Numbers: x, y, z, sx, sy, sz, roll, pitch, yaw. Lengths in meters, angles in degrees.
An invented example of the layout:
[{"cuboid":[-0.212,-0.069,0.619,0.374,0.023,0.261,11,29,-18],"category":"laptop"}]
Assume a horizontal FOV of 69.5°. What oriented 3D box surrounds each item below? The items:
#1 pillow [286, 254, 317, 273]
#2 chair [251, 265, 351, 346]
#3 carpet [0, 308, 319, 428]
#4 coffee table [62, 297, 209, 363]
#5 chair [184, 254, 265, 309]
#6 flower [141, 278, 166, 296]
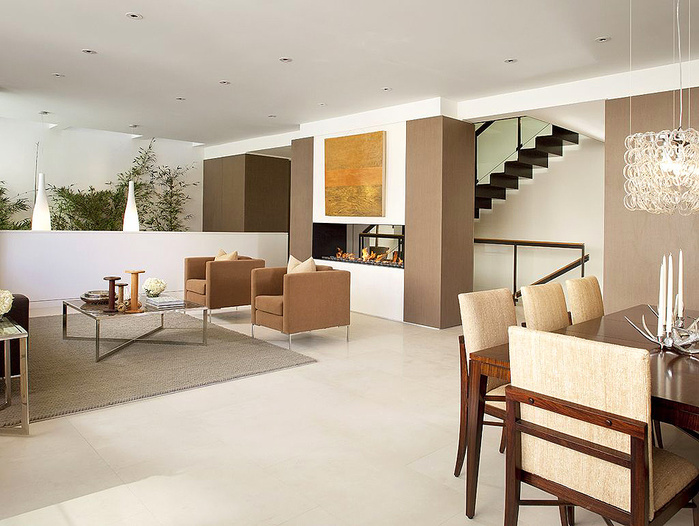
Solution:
[{"cuboid":[-0.633,-0.045,6.556,0.187,0.289,0.464,-1,5,-40],"category":"pillow"},{"cuboid":[-0.648,0.534,6.630,1.251,0.960,1.321,1,4,13],"category":"chair"},{"cuboid":[-2.245,1.021,6.054,2.727,0.168,2.927,-5,11,-34],"category":"carpet"},{"cuboid":[-2.487,0.684,6.071,1.248,0.480,1.091,-2,5,-36],"category":"coffee table"},{"cuboid":[-2.003,0.275,7.944,1.158,0.791,1.182,1,4,-16],"category":"chair"},{"cuboid":[-2.443,0.312,6.365,0.268,0.269,0.303,0,-8,17],"category":"flower"}]
